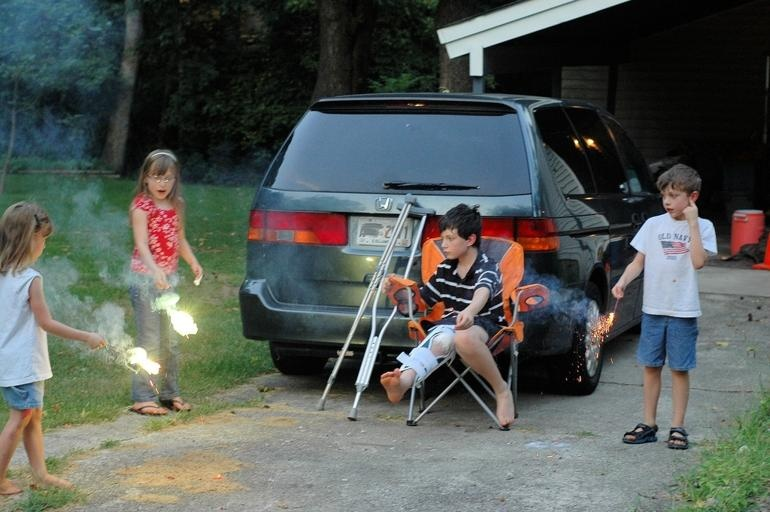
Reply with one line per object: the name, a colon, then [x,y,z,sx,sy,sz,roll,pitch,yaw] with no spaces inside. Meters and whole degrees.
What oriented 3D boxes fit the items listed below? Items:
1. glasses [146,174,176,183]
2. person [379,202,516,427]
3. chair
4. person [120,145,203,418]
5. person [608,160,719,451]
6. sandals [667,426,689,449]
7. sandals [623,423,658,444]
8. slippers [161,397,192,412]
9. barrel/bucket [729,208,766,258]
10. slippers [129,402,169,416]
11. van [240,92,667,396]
glasses: [-1.595,-0.544,5.146,0.178,0.053,0.066,-3,8,-20]
person: [0.446,0.414,4.888,0.961,1.504,0.447,-3,9,-22]
chair: [0.545,0.418,4.824,0.950,1.141,0.815,1,0,10]
person: [-1.612,0.179,5.254,0.529,1.870,0.494,-2,8,-14]
person: [1.775,0.294,4.648,0.570,1.730,0.518,4,9,29]
sandals: [1.828,1.127,4.499,0.075,0.068,0.200,-2,-1,12]
sandals: [1.622,1.130,4.640,0.272,0.099,0.093,3,-3,-26]
slippers: [-1.531,1.079,5.299,0.236,0.059,0.091,0,4,28]
barrel/bucket: [5.795,-0.380,11.566,0.440,0.648,0.488,4,9,26]
slippers: [-1.706,1.086,5.210,0.231,0.051,0.110,2,10,23]
van: [1.212,-0.310,7.306,2.777,2.054,4.907,4,7,30]
